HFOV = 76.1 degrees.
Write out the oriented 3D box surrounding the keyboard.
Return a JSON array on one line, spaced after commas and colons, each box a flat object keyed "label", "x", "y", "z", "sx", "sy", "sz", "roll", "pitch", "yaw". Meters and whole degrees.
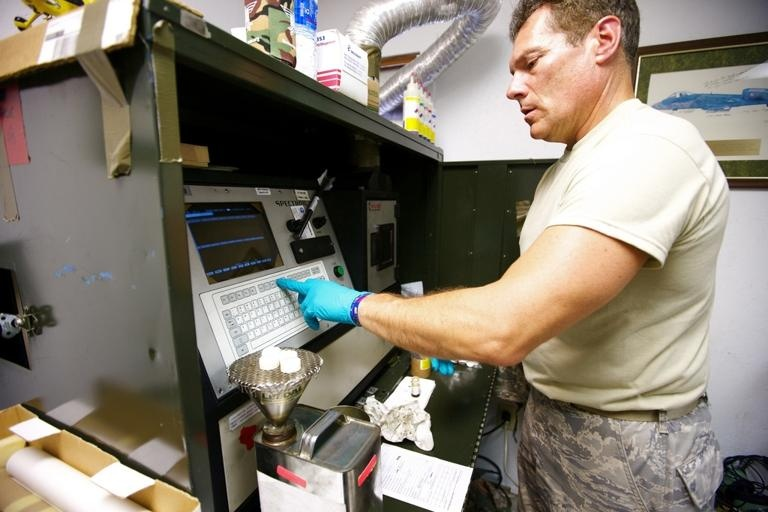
[{"label": "keyboard", "x": -0.399, "y": 0.190, "z": 1.546, "sx": 0.072, "sy": 0.225, "sz": 0.471, "roll": -18, "pitch": -1, "yaw": 32}]
